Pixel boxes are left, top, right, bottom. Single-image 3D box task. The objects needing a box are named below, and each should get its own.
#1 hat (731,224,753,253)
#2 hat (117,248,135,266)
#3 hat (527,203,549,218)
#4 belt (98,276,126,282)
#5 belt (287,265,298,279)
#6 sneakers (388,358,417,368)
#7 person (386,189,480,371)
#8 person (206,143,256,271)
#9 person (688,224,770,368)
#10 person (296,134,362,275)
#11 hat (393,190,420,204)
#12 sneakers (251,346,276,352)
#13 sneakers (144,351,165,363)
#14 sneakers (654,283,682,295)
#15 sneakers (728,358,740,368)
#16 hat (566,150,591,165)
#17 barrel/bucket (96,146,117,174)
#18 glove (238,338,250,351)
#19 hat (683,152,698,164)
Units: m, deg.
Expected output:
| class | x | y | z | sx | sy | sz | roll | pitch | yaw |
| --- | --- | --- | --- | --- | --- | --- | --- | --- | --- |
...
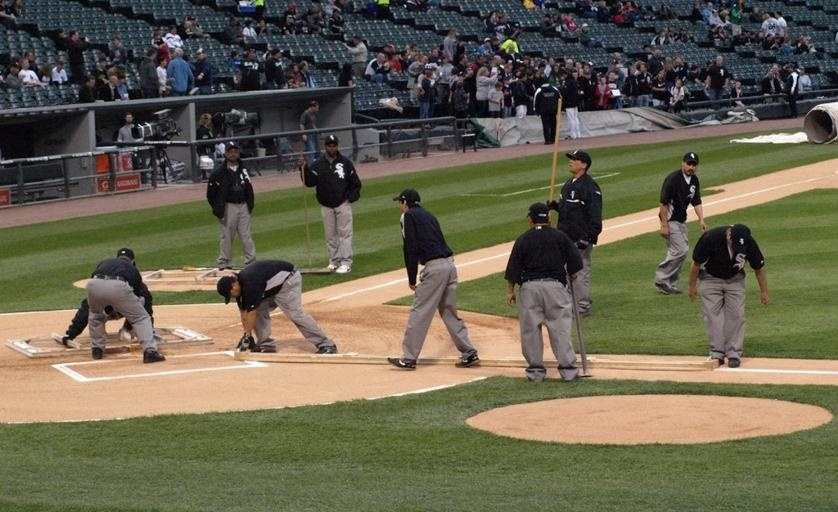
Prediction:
| class | x | y | z | sx | sy | sz | roll | pitch | yaw |
| --- | --- | --- | --- | --- | --- | --- | --- | --- | --- |
| hat | 6.527 | -0.365 | 28.657 | 0.462 | 0.538 | 0.307 | -2 | -23 | 3 |
| hat | -6.320 | -0.001 | 30.477 | 0.624 | 0.193 | 0.380 | 16 | -2 | -16 |
| hat | 2.427 | -0.924 | 28.520 | 0.446 | 0.276 | 0.292 | -5 | 8 | -13 |
| belt | -6.542 | 0.475 | 29.947 | 0.496 | 0.134 | 0.093 | -3 | 8 | 4 |
| belt | -2.726 | 0.355 | 30.273 | 0.263 | 0.096 | 0.193 | -35 | 3 | 19 |
| sneakers | -0.352 | 2.259 | 29.472 | 0.631 | 0.222 | 0.204 | 9 | 2 | 2 |
| person | 0.146 | 0.490 | 29.370 | 1.446 | 3.758 | 1.133 | -10 | 10 | -31 |
| person | -4.670 | -1.230 | 35.076 | 1.096 | 3.080 | 0.930 | -6 | 9 | -6 |
| person | 6.289 | 0.818 | 28.918 | 1.504 | 2.937 | 0.601 | -4 | 9 | 8 |
| person | -2.144 | -1.251 | 34.740 | 1.306 | 3.423 | 0.760 | -8 | 9 | -20 |
| hat | -0.283 | -1.241 | 29.492 | 0.525 | 0.211 | 0.334 | 2 | 9 | 18 |
| sneakers | -3.366 | 2.030 | 30.478 | 0.495 | 0.164 | 0.148 | 6 | -13 | -17 |
| sneakers | -5.696 | 2.146 | 30.081 | 0.531 | 0.183 | 0.213 | -3 | 12 | -21 |
| sneakers | 5.722 | 0.770 | 32.488 | 0.692 | 0.226 | 0.222 | 2 | 5 | 7 |
| sneakers | 6.426 | 2.192 | 28.859 | 0.187 | 0.205 | 0.191 | 1 | 44 | 12 |
| hat | 3.551 | -2.186 | 30.888 | 0.649 | 0.252 | 0.406 | 13 | 3 | -8 |
| barrel/bucket | -9.728 | -2.978 | 43.831 | 0.565 | 0.756 | 0.917 | 7 | 6 | 38 |
| glove | -3.755 | 1.910 | 30.241 | 0.207 | 0.307 | 0.277 | 8 | 5 | -39 |
| hat | 6.159 | -2.207 | 32.040 | 0.342 | 0.219 | 0.454 | 12 | -3 | 1 |
